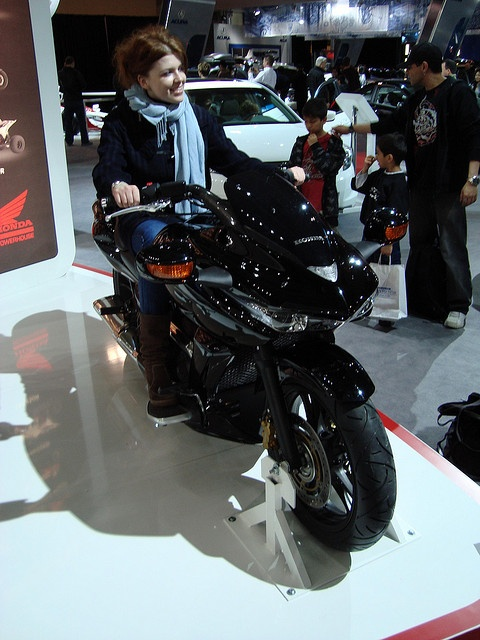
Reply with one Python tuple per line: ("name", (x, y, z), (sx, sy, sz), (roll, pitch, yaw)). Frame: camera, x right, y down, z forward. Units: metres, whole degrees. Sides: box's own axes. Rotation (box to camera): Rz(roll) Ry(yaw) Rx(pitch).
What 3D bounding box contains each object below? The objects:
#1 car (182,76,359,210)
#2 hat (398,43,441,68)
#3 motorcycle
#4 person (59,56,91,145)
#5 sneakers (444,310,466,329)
("car", (0.172, -2.989, 7.680), (2.355, 1.769, 3.754), (-6, 21, -9))
("hat", (1.386, -1.963, 3.346), (0.255, 0.204, 0.194), (10, 27, 16))
("motorcycle", (-0.086, -0.076, 1.733), (0.768, 0.905, 1.684), (-17, 29, -29))
("person", (-4.618, -5.990, 12.381), (0.678, 2.201, 0.647), (-6, 28, -16))
("sneakers", (1.717, 0.004, 3.555), (0.111, 0.070, 0.172), (15, 29, 27))
